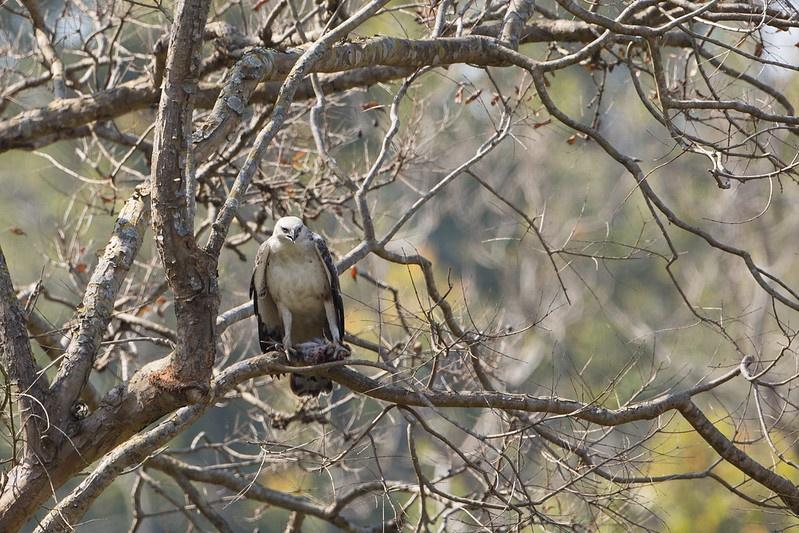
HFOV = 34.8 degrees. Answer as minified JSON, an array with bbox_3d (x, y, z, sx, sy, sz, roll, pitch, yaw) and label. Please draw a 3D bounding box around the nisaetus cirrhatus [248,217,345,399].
[{"bbox_3d":[-1.137,0.221,14.416,0.906,2.135,1.655,-4,-95,-2],"label":"nisaetus cirrhatus"}]
